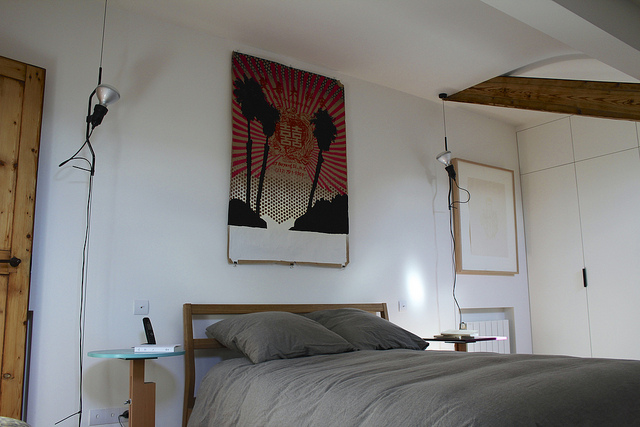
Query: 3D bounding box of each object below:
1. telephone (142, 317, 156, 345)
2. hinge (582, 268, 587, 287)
[{"bbox_3d":[-1.351,0.918,3.654,0.085,0.187,0.246,-1,-5,-21],"label":"telephone"},{"bbox_3d":[3.160,0.762,5.522,0.018,0.220,0.036,-1,-4,-27],"label":"hinge"}]
